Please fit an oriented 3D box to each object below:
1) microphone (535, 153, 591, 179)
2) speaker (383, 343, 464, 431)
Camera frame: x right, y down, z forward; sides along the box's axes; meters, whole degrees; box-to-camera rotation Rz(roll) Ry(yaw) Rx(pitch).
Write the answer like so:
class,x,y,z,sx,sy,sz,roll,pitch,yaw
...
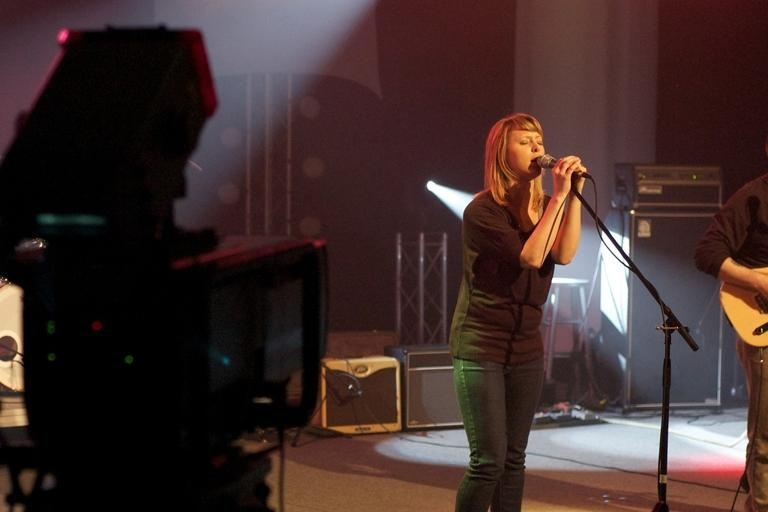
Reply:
class,x,y,z,sx,sy,sz,roll,pitch,yaw
microphone,0.708,-0.353,2.957,0.211,0.116,0.212,0,-4,10
speaker,0.250,0.973,5.809,0.688,0.743,0.528,-1,-5,-12
